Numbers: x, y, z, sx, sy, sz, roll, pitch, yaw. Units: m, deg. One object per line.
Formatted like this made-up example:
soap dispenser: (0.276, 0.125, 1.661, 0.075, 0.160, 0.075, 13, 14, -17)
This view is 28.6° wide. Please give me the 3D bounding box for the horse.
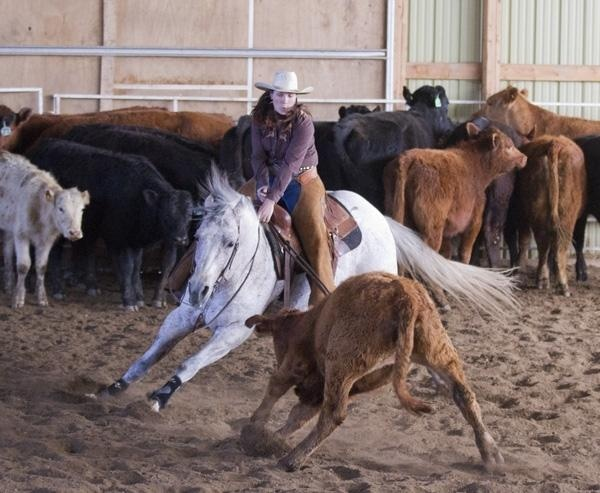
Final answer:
horse: (0.211, 0.300, 13.681, 5.312, 3.074, 1.326, -3, 14, -28)
